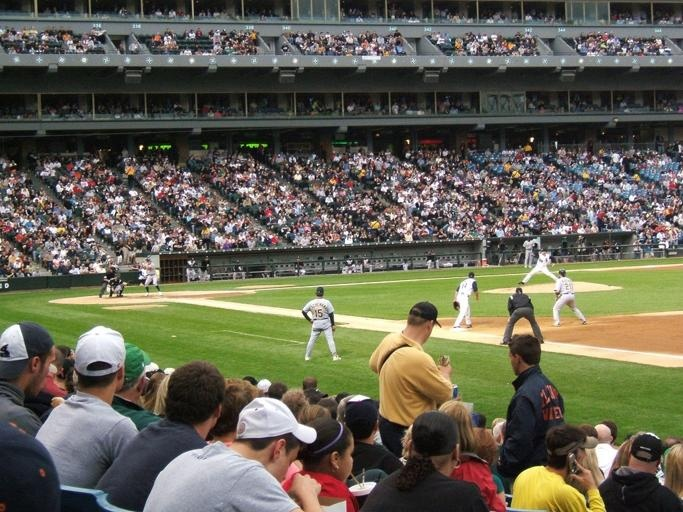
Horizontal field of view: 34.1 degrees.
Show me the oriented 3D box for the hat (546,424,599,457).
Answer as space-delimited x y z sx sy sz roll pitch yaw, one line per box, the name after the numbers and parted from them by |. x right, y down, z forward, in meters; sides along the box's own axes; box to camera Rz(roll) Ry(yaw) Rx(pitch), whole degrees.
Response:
6.300 4.970 30.335 1.164 0.564 0.756 -9 10 -25 | hat

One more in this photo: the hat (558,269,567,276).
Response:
9.654 0.698 48.328 0.307 0.403 0.411 4 18 17 | hat

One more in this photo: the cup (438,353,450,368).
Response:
3.080 3.050 32.936 0.278 0.310 0.578 3 9 4 | cup

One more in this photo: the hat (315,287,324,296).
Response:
-0.839 1.362 42.273 0.291 0.369 0.369 2 38 3 | hat

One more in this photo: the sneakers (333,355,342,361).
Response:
-0.156 3.777 41.598 0.133 0.169 0.401 1 4 17 | sneakers

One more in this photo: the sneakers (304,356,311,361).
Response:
-1.251 3.787 41.522 0.144 0.210 0.455 3 -4 5 | sneakers

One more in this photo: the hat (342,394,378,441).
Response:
0.631 4.541 30.865 0.849 1.393 0.611 -1 14 7 | hat
